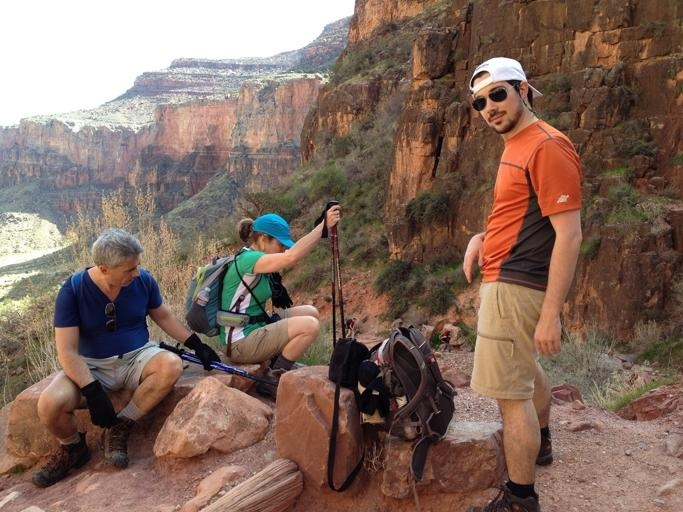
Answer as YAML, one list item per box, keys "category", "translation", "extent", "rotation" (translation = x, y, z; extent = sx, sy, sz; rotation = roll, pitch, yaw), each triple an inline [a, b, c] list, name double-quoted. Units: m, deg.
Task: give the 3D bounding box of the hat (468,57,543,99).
- category: "hat"
  translation: [1.524, -1.791, 6.708]
  extent: [0.490, 0.332, 0.407]
  rotation: [6, 10, 0]

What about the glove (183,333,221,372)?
- category: "glove"
  translation: [-1.662, 1.138, 8.106]
  extent: [0.473, 0.317, 0.135]
  rotation: [35, 4, 13]

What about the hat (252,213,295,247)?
- category: "hat"
  translation: [-0.832, -0.334, 8.305]
  extent: [0.560, 0.370, 0.429]
  rotation: [16, -6, -8]

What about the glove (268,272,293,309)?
- category: "glove"
  translation: [-0.997, 0.578, 11.283]
  extent: [0.242, 0.377, 0.841]
  rotation: [29, -14, 12]

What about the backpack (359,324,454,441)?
- category: "backpack"
  translation: [0.662, 1.350, 7.092]
  extent: [0.423, 0.848, 0.702]
  rotation: [-24, -8, -27]

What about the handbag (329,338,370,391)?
- category: "handbag"
  translation: [0.055, 1.094, 7.099]
  extent: [0.318, 0.491, 0.342]
  rotation: [15, 6, -14]
